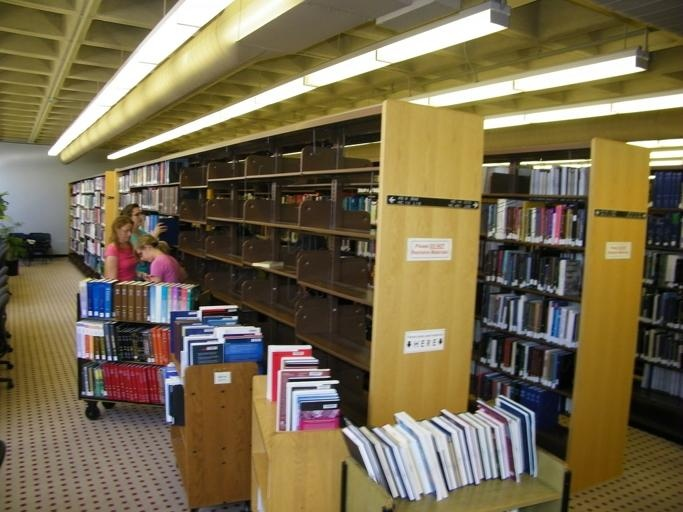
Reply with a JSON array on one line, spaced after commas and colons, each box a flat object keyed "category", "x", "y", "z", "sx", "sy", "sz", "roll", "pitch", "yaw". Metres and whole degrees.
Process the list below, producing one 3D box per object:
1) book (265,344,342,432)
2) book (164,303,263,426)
[{"category": "book", "x": -0.230, "y": 0.844, "z": 3.406, "sx": 0.462, "sy": 0.410, "sz": 0.629, "roll": 1, "pitch": 10, "yaw": -11}, {"category": "book", "x": -1.050, "y": 0.878, "z": 4.227, "sx": 0.679, "sy": 0.794, "sz": 0.882, "roll": 0, "pitch": 11, "yaw": -19}]
